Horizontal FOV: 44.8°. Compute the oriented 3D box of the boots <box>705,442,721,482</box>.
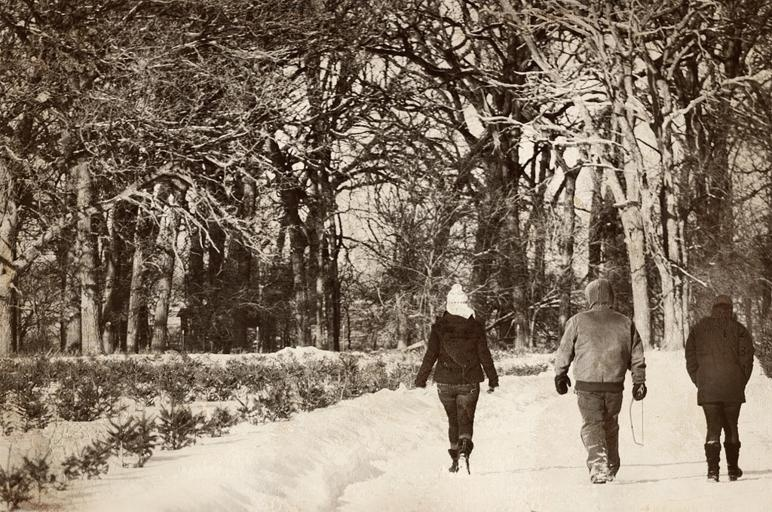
[{"bbox_3d":[5.882,3.716,16.866,0.254,0.690,0.223,4,5,12],"label":"boots"}]

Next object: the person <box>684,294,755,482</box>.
[{"bbox_3d":[6.088,2.397,17.181,1.082,3.308,1.111,5,5,26],"label":"person"}]

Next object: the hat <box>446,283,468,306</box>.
[{"bbox_3d":[1.420,0.735,17.718,0.377,0.485,0.428,1,-9,-6],"label":"hat"}]

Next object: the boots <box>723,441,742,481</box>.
[{"bbox_3d":[6.325,3.702,16.972,0.423,0.685,0.280,0,5,-31],"label":"boots"}]

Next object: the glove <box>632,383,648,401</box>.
[{"bbox_3d":[4.600,2.460,16.896,0.304,0.378,0.160,0,-10,28],"label":"glove"}]

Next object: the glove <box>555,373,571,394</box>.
[{"bbox_3d":[3.139,2.326,16.719,0.136,0.398,0.313,7,31,27],"label":"glove"}]

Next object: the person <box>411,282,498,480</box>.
[{"bbox_3d":[1.353,2.277,17.367,1.396,3.499,0.808,3,5,4],"label":"person"}]

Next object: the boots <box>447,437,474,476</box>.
[{"bbox_3d":[1.395,3.696,17.326,0.411,0.696,0.507,3,4,4],"label":"boots"}]
